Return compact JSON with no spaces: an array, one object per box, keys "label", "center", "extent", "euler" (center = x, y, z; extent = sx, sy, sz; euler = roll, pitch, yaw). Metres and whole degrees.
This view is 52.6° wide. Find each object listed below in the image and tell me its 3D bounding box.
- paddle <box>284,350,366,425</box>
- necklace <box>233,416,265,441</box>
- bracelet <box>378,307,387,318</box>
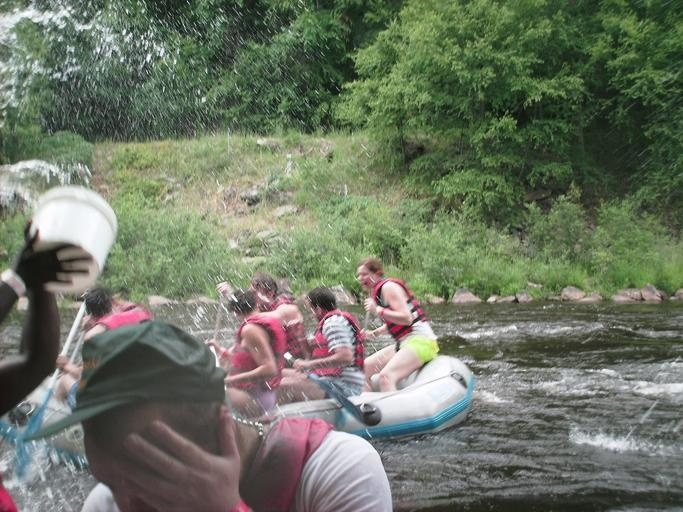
[{"label":"paddle","center":[-0.214,2.032,9.928],"extent":[1.250,0.784,0.303],"euler":[30,-34,-2]},{"label":"necklace","center":[-0.890,1.694,6.891],"extent":[0.250,0.079,0.251],"euler":[32,-2,-32]},{"label":"bracelet","center":[0.636,0.876,10.747],"extent":[0.115,0.137,0.124],"euler":[2,-16,-1]}]
